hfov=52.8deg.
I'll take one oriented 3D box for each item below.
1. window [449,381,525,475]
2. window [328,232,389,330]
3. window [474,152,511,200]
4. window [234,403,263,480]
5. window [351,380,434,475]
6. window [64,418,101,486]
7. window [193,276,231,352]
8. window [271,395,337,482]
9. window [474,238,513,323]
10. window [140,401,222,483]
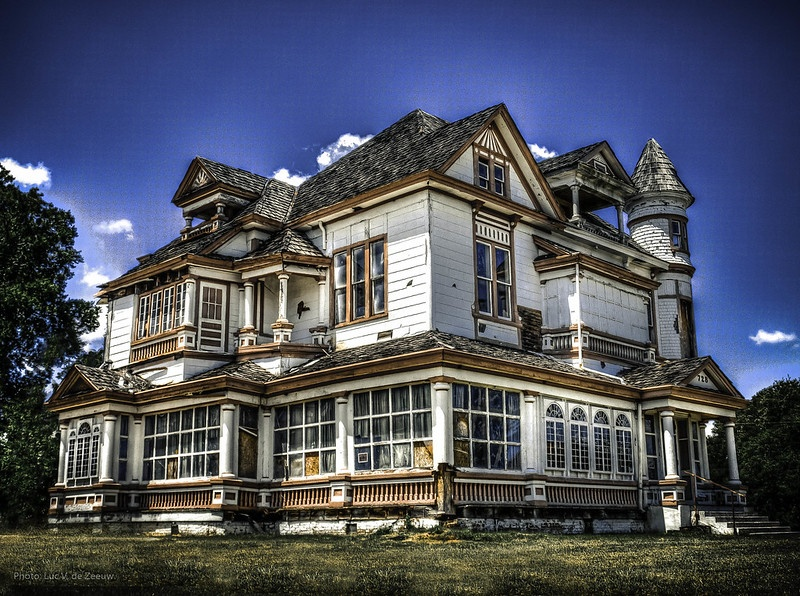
[{"bbox_3d":[2.768,4.096,25.574,0.224,2.655,3.605,-13,-19,42],"label":"window"},{"bbox_3d":[-1.445,-0.539,29.590,2.984,3.520,0.157,-17,-28,38],"label":"window"},{"bbox_3d":[3.450,-4.605,30.586,1.826,1.369,0.195,20,-30,-40],"label":"window"},{"bbox_3d":[-5.279,4.952,28.005,0.265,2.403,0.872,-19,-25,42],"label":"window"},{"bbox_3d":[-0.135,4.072,25.171,2.819,2.502,0.195,-9,-12,38],"label":"window"},{"bbox_3d":[-12.063,5.888,30.734,0.121,2.473,2.260,8,-17,-40],"label":"window"},{"bbox_3d":[-7.291,0.707,31.211,1.044,2.452,0.217,4,-3,-22],"label":"window"},{"bbox_3d":[-3.208,4.789,27.335,2.627,2.500,0.141,-11,-20,26],"label":"window"},{"bbox_3d":[3.396,-0.577,29.763,2.590,2.997,0.198,17,-25,-42],"label":"window"},{"bbox_3d":[-7.924,5.235,29.217,0.155,2.497,4.062,-4,-7,25],"label":"window"}]
